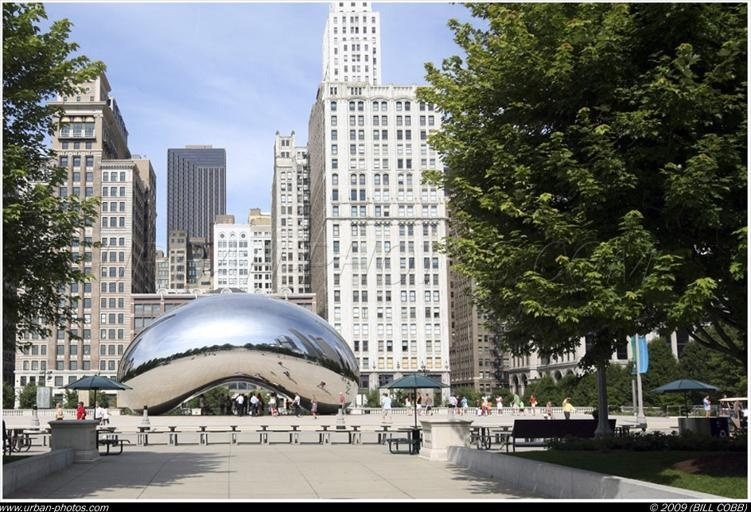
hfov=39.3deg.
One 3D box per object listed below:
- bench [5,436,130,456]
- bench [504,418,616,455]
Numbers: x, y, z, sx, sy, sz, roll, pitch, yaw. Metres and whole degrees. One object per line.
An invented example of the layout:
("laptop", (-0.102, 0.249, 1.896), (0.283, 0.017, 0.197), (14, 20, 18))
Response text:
("bench", (-10.225, 7.152, 39.423), (3.190, 0.615, 1.870), (0, -16, 1))
("bench", (6.242, 6.228, 36.459), (3.169, 1.021, 1.445), (5, -8, -24))
